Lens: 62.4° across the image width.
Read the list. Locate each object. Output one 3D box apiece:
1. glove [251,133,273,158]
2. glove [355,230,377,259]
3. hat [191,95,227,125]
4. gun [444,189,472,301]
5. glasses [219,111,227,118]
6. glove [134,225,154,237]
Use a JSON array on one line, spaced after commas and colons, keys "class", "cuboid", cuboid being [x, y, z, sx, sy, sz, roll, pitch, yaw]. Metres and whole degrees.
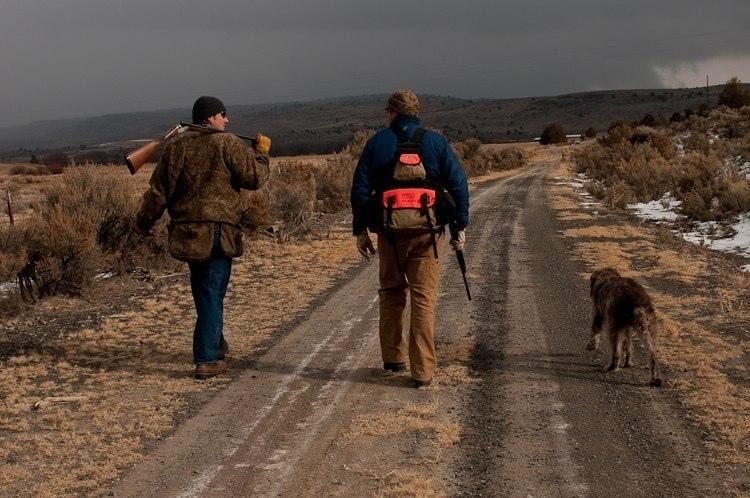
[{"class": "glove", "cuboid": [-1.460, -1.340, 7.946, 0.256, 0.170, 0.339, -3, 2, -26]}, {"class": "glove", "cuboid": [-0.152, -0.043, 9.256, 0.241, 0.338, 0.555, -25, 1, 8]}, {"class": "hat", "cuboid": [-2.083, -1.714, 7.655, 0.417, 0.324, 0.437, -8, 13, -12]}, {"class": "gun", "cuboid": [1.317, 0.049, 9.904, 0.129, 2.138, 0.586, -14, 16, 5]}, {"class": "glasses", "cuboid": [-1.923, -1.714, 7.842, 0.069, 0.062, 0.077, 20, -5, -27]}, {"class": "glove", "cuboid": [-3.436, -0.260, 9.103, 0.217, 0.067, 0.224, -2, -6, 27]}]
